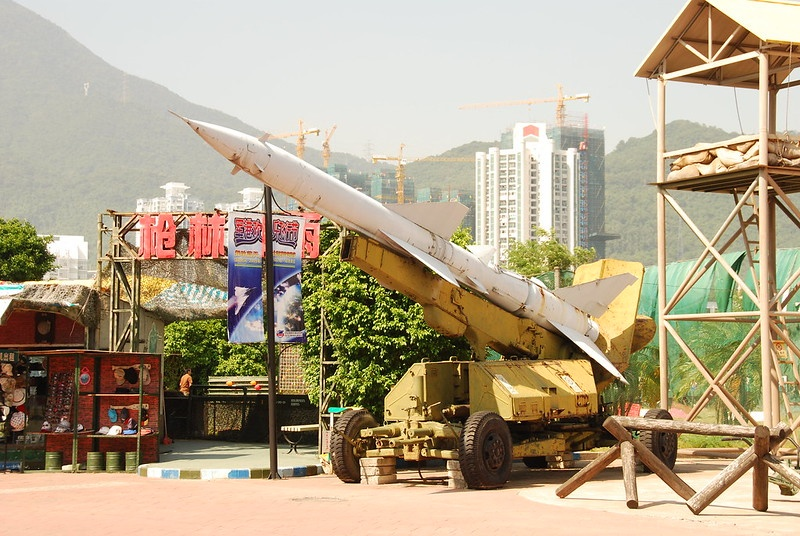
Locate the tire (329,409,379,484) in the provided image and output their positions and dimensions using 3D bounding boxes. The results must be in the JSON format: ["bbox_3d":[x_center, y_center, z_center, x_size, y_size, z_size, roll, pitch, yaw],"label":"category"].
[{"bbox_3d":[-1.201,4.635,30.636,1.109,1.890,0.495,-3,-5,-11],"label":"tire"}]

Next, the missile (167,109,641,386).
[{"bbox_3d":[-0.250,-0.330,31.905,15.363,5.012,3.429,23,-44,-22],"label":"missile"}]

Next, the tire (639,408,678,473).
[{"bbox_3d":[6.503,4.387,29.650,0.660,1.747,1.879,-1,12,20],"label":"tire"}]

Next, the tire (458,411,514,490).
[{"bbox_3d":[2.142,4.542,29.179,0.648,1.669,2.020,-8,-7,37],"label":"tire"}]
